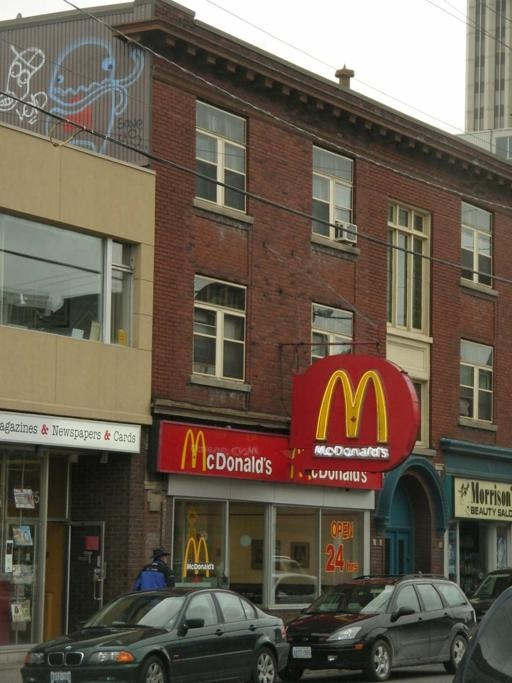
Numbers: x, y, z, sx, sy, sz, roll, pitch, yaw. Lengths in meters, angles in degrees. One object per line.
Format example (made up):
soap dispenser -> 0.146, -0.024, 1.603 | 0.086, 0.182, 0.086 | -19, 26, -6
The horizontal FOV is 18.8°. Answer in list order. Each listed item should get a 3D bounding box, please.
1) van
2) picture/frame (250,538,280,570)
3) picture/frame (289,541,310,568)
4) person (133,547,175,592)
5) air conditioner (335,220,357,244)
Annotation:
van -> 1.751, 4.028, 22.676 | 1.768, 1.620, 3.017 | -11, -18, 35
picture/frame -> 0.178, 3.773, 27.609 | 0.348, 0.795, 0.721 | -4, -9, 31
picture/frame -> 0.809, 3.895, 28.496 | 0.038, 0.474, 0.418 | -9, -13, 33
person -> -1.451, 3.274, 22.571 | 0.544, 0.717, 1.385 | 1, -14, -6
air conditioner -> 1.754, -2.137, 30.057 | 0.260, 0.559, 0.531 | -3, -6, 34
